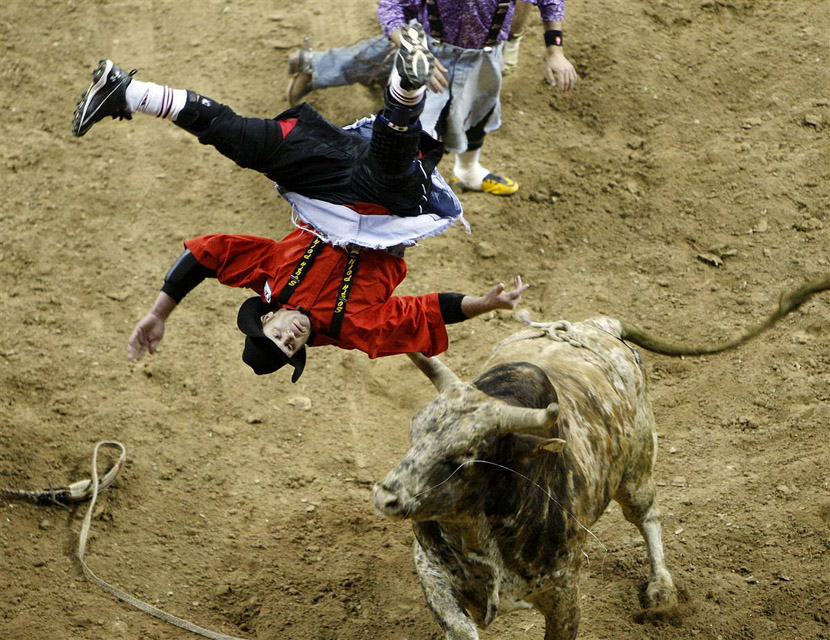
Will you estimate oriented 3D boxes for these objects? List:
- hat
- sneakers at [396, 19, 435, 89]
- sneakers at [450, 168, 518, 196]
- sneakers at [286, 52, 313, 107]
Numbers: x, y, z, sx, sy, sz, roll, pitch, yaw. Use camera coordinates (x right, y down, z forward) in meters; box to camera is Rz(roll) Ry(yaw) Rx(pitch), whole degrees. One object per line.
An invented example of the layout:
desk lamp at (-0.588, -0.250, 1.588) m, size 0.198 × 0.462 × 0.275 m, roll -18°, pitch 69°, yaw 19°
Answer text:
hat at (-1.058, 0.110, 11.565) m, size 0.467 × 0.601 × 0.255 m, roll 1°, pitch 26°, yaw -23°
sneakers at (-0.009, -1.841, 11.381) m, size 0.207 × 0.482 × 0.226 m, roll -2°, pitch 2°, yaw 2°
sneakers at (0.591, -1.237, 14.584) m, size 0.617 × 0.246 × 0.210 m, roll -1°, pitch 17°, yaw -6°
sneakers at (-0.999, -1.999, 13.651) m, size 0.174 × 0.491 × 0.209 m, roll 19°, pitch 48°, yaw 5°
